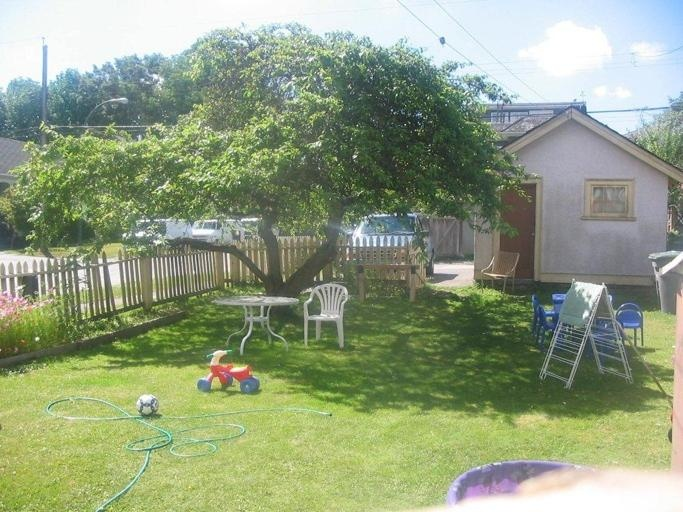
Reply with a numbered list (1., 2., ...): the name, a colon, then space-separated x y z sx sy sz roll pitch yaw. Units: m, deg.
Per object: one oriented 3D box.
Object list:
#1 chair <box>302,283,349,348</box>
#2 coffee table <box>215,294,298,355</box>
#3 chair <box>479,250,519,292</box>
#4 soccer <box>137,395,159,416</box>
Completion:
1. chair: -0.284 1.126 11.779 0.761 1.211 0.853 1 -2 4
2. coffee table: -1.671 1.123 11.567 1.185 0.868 1.301 -2 6 -16
3. chair: 4.387 0.451 16.815 0.959 1.107 1.020 -1 8 -16
4. soccer: -2.487 1.913 7.816 0.253 0.269 0.262 4 -19 43
